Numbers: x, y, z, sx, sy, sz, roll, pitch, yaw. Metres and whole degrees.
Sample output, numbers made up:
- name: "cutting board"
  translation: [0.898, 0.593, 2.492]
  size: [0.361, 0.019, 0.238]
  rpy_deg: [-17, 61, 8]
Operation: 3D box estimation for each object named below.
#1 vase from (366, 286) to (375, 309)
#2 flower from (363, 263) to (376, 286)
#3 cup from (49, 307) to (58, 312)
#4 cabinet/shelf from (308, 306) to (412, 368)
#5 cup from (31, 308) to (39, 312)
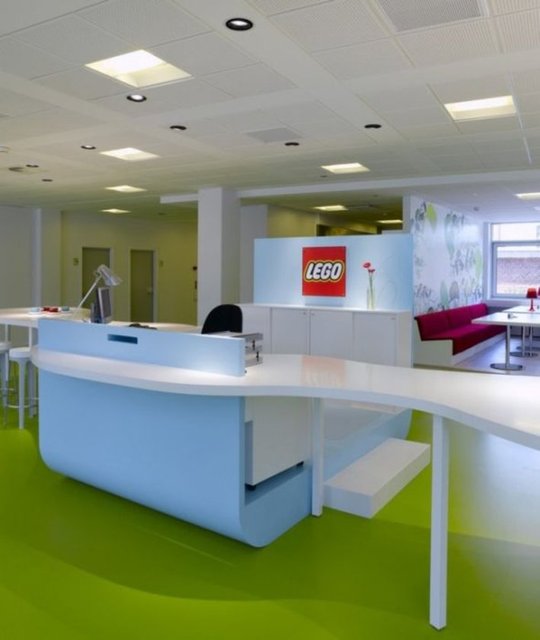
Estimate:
- name: "vase"
  translation: [1.256, -0.271, 6.011]
  size: [0.109, 0.252, 0.083]
  rpy_deg: [2, 2, 39]
- name: "flower"
  translation: [1.270, -0.606, 6.161]
  size: [0.077, 0.310, 0.170]
  rpy_deg: [-1, 2, -43]
- name: "cup"
  translation: [-2.974, -0.151, 6.566]
  size: [0.083, 0.063, 0.092]
  rpy_deg: [1, 1, 6]
- name: "cabinet/shelf"
  translation: [1.099, 0.174, 5.502]
  size: [0.644, 0.694, 0.243]
  rpy_deg: [-1, -3, 32]
- name: "cup"
  translation: [-3.163, -0.149, 6.441]
  size: [0.059, 0.050, 0.061]
  rpy_deg: [1, 0, 0]
